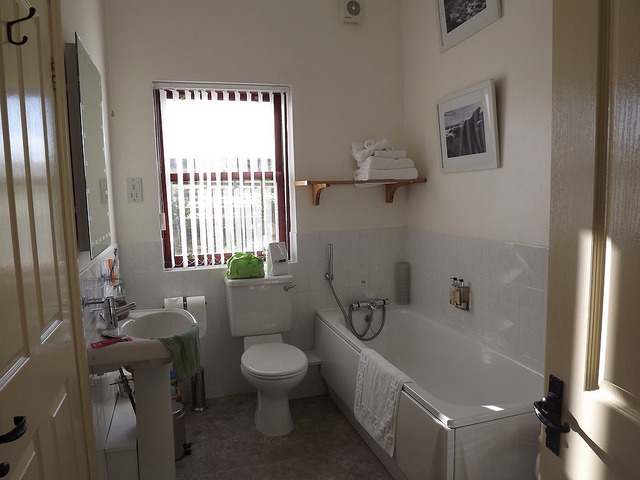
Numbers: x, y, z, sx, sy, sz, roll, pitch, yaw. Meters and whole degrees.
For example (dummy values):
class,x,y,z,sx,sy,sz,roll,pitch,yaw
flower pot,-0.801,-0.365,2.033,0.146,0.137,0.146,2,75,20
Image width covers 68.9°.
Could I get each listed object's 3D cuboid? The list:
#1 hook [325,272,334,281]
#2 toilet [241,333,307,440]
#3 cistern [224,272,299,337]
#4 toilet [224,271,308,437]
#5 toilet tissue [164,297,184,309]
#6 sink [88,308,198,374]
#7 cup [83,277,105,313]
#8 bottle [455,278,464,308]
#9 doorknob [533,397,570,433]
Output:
class,x,y,z,sx,sy,sz,roll,pitch,yaw
hook,0.068,0.275,3.592,0.021,0.064,0.042,4,31,38
toilet,-0.327,0.969,3.090,0.354,0.569,0.613,0,-3,-14
cistern,-0.410,0.436,3.312,0.519,0.531,0.395,-3,11,-16
toilet,-0.374,0.752,3.179,0.493,0.917,0.719,-3,12,-12
toilet tissue,-1.002,0.436,3.208,0.138,0.053,0.093,-3,12,-9
sink,-0.912,0.516,2.454,0.487,0.192,0.536,-4,13,-16
cup,-1.124,0.273,2.285,0.100,0.171,0.098,-2,-1,0
bottle,0.925,0.343,3.101,0.052,0.172,0.118,4,12,21
doorknob,0.693,0.534,1.408,0.044,0.087,0.107,-6,13,-26
